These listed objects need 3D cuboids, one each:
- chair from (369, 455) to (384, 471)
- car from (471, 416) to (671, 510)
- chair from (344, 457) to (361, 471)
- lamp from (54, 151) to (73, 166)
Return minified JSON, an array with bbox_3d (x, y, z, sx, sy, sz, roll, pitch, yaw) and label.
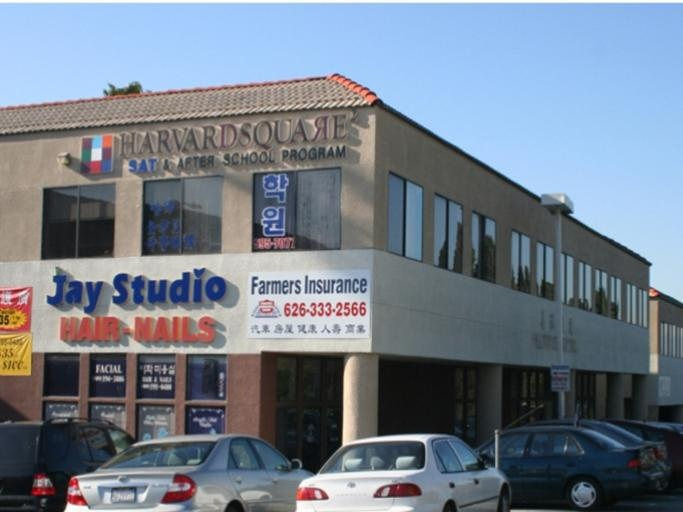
[{"bbox_3d":[0.666,4.146,22.452,0.204,0.246,0.223,4,-2,-30],"label":"chair"},{"bbox_3d":[5.647,5.008,26.997,4.121,1.600,2.093,-1,-5,25],"label":"car"},{"bbox_3d":[0.200,4.183,22.561,0.249,0.191,0.207,-9,-12,10],"label":"chair"},{"bbox_3d":[-8.460,-2.935,34.097,0.532,0.465,0.238,11,8,26],"label":"lamp"}]
